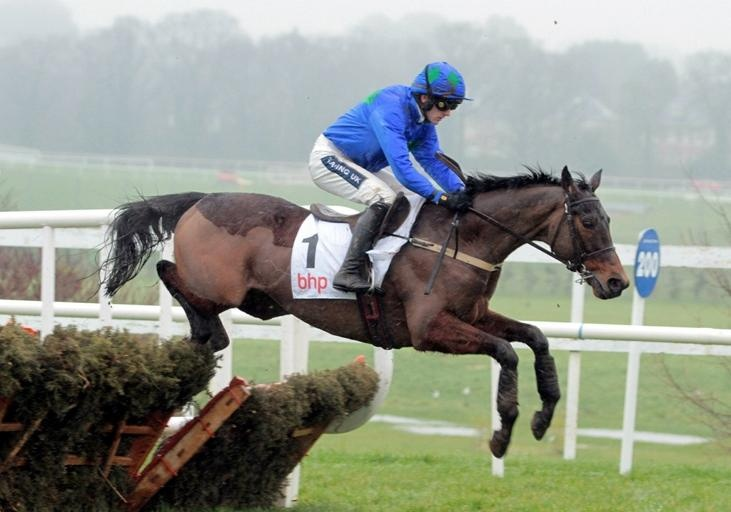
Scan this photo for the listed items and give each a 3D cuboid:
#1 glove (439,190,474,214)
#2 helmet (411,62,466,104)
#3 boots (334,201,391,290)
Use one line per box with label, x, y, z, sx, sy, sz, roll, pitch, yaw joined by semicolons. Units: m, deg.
glove;0.977;-0.581;14.420;0.318;0.095;0.214;4;33;13
helmet;0.850;-1.931;14.668;0.740;0.323;0.537;4;14;22
boots;-0.019;-0.106;14.329;0.545;0.954;0.226;2;0;-30
